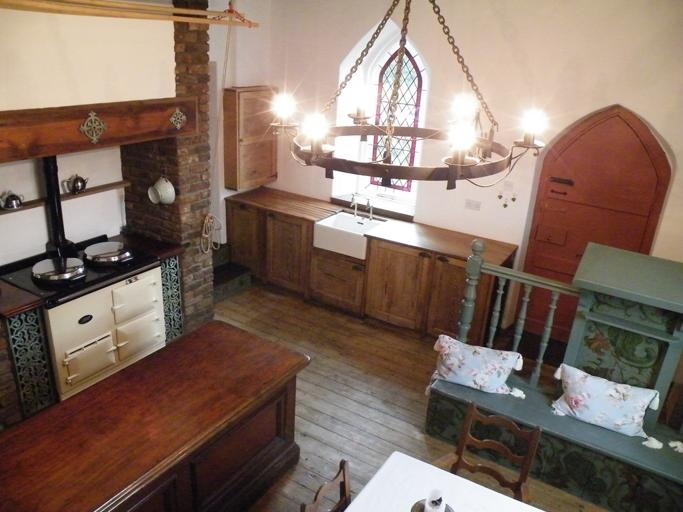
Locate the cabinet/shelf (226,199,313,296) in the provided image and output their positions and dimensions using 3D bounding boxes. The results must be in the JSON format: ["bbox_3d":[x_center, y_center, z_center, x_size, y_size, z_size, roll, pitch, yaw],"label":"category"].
[{"bbox_3d":[-0.935,-0.172,6.719,1.439,1.194,0.505,17,26,30],"label":"cabinet/shelf"}]

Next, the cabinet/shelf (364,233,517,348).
[{"bbox_3d":[1.178,0.329,5.946,1.555,1.166,0.906,13,24,21],"label":"cabinet/shelf"}]

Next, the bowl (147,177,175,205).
[{"bbox_3d":[-1.849,-0.655,4.912,0.278,0.294,0.129,6,19,1],"label":"bowl"}]

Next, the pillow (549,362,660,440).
[{"bbox_3d":[2.144,1.182,3.867,0.580,0.351,0.178,10,25,28],"label":"pillow"}]

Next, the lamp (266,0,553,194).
[{"bbox_3d":[0.801,-1.815,5.110,2.255,2.066,1.924,-10,30,-20],"label":"lamp"}]

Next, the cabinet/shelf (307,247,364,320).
[{"bbox_3d":[0.064,0.222,6.464,0.826,0.781,0.787,16,31,22],"label":"cabinet/shelf"}]

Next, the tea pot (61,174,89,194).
[{"bbox_3d":[-2.555,-0.683,4.570,0.134,0.171,0.182,16,22,27],"label":"tea pot"}]

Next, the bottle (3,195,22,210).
[{"bbox_3d":[-2.825,-0.463,4.112,0.100,0.116,0.139,1,-2,-10],"label":"bottle"}]
